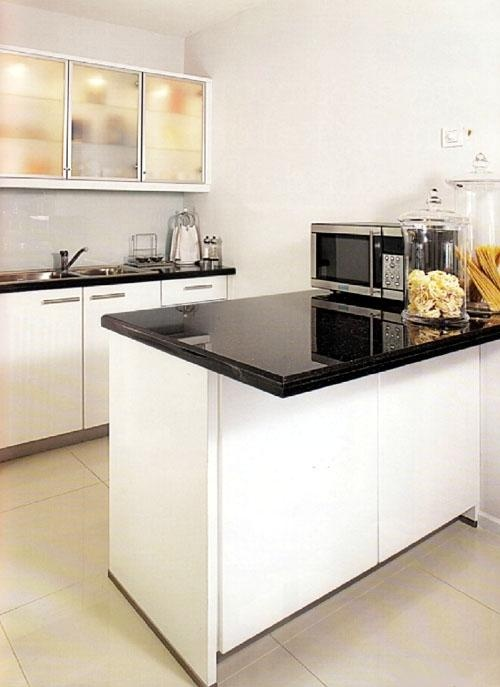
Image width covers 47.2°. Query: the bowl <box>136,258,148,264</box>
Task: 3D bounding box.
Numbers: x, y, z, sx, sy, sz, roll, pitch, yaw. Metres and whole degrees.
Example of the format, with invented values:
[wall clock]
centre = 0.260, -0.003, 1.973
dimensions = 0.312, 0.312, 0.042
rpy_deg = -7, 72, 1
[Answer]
[bowl]
centre = -0.697, -0.531, 3.715
dimensions = 0.088, 0.038, 0.019
rpy_deg = -7, 12, -34
